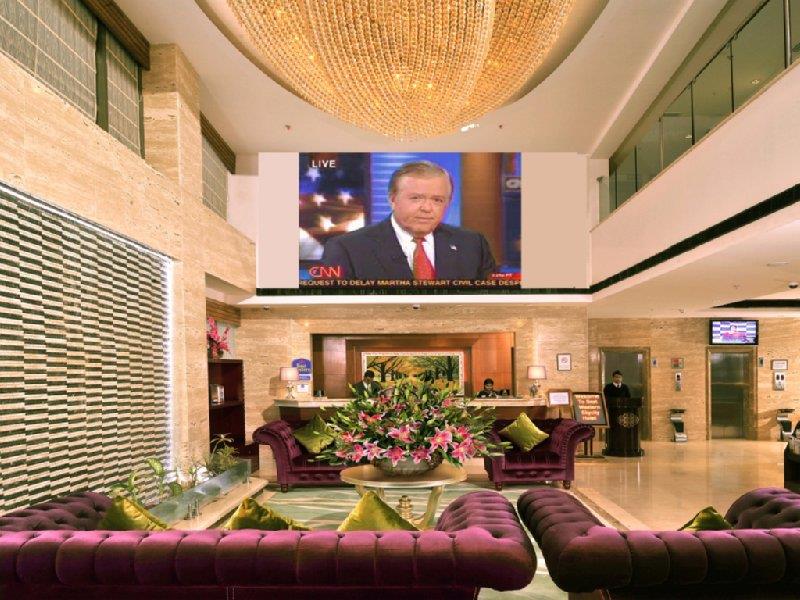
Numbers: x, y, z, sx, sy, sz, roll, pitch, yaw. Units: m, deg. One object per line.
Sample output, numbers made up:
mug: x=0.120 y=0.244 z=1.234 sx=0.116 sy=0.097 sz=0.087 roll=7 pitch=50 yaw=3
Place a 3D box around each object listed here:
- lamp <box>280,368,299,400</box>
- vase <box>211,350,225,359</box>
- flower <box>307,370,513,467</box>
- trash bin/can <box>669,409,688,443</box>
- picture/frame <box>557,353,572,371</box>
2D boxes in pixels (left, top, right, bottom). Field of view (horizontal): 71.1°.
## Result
lamp: x=-2.147 y=1.583 z=10.860 sx=0.348 sy=0.570 sz=0.509 roll=1 pitch=-7 yaw=-12
vase: x=-3.062 y=0.897 z=9.358 sx=0.190 sy=0.134 sz=0.297 roll=1 pitch=-7 yaw=-19
flower: x=0.088 y=1.380 z=6.546 sx=2.288 sy=1.050 sz=1.843 roll=0 pitch=-8 yaw=2
trash bin/can: x=6.806 y=3.022 z=13.620 sx=0.388 sy=0.748 sz=0.384 roll=-2 pitch=-7 yaw=8
picture/frame: x=3.279 y=1.247 z=11.226 sx=0.365 sy=0.402 sz=0.033 roll=1 pitch=-8 yaw=-1
